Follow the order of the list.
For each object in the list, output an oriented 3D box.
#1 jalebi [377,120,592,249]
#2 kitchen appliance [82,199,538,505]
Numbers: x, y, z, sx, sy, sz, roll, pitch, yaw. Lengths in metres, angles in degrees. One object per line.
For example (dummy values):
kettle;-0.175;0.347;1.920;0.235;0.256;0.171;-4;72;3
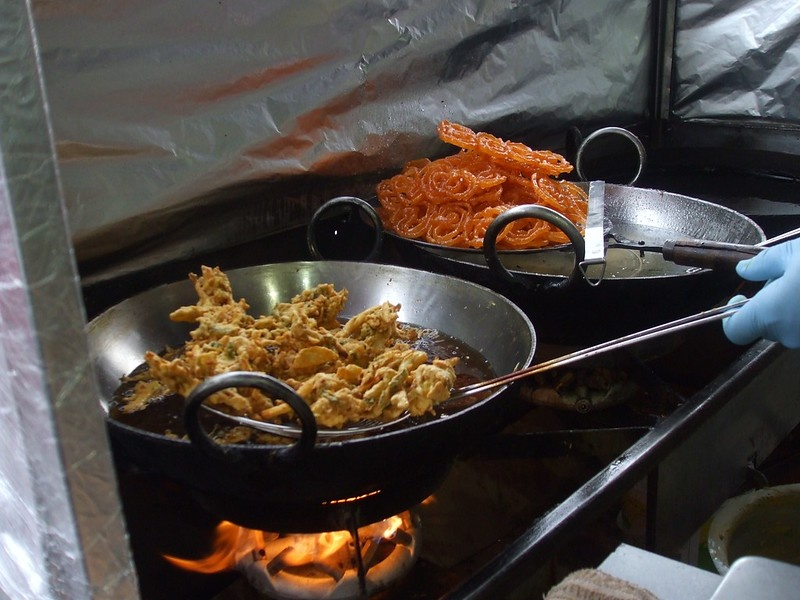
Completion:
jalebi;0.217;-0.313;2.053;0.439;0.150;0.435;-14;33;-34
kitchen appliance;-0.185;0.084;1.406;0.779;0.420;0.713;-14;23;-34
